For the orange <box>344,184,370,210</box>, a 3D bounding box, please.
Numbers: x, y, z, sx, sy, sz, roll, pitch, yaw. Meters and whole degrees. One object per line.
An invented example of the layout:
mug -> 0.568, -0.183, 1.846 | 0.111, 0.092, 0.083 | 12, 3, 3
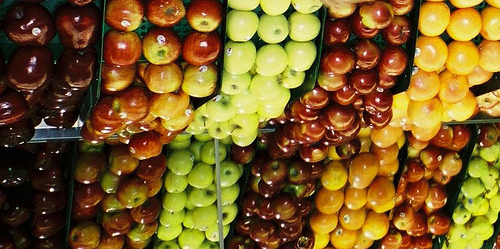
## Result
orange -> 0.886, 0.615, 3.316 | 0.173, 0.214, 0.164 | 11, -28, -8

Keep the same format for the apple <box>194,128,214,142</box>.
apple -> -0.366, 0.098, 3.114 | 0.119, 0.107, 0.100 | 19, -20, 4

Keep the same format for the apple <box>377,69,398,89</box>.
apple -> 0.948, -0.313, 2.732 | 0.130, 0.120, 0.155 | 5, -3, 44

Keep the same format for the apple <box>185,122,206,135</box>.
apple -> -0.414, 0.024, 2.967 | 0.109, 0.096, 0.105 | 9, -28, 44

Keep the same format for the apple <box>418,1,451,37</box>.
apple -> 1.235, -0.717, 2.629 | 0.199, 0.223, 0.190 | -7, 5, -35

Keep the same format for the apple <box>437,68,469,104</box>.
apple -> 1.454, -0.268, 2.734 | 0.243, 0.221, 0.127 | 16, 3, 2

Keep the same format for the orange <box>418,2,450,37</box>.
orange -> 1.241, -0.705, 2.664 | 0.201, 0.216, 0.129 | 4, 5, -4

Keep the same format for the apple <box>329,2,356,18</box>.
apple -> 0.610, -0.758, 2.579 | 0.174, 0.075, 0.094 | 1, -8, 12

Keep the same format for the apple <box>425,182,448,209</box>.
apple -> 1.658, 0.638, 3.570 | 0.183, 0.215, 0.181 | -5, 4, -15

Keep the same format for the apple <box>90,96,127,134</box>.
apple -> -0.968, -0.041, 2.717 | 0.248, 0.229, 0.235 | 8, -22, -32

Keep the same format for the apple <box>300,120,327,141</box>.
apple -> 0.465, 0.044, 2.883 | 0.184, 0.124, 0.130 | -2, 2, -8

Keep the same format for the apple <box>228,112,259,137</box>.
apple -> -0.039, 0.001, 2.892 | 0.187, 0.172, 0.223 | -4, 27, 32

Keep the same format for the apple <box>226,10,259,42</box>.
apple -> -0.048, -0.642, 2.540 | 0.211, 0.188, 0.115 | 3, -9, -1

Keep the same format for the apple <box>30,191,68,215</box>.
apple -> -1.462, 0.569, 2.854 | 0.226, 0.150, 0.119 | -10, 5, -22

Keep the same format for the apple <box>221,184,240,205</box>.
apple -> -0.166, 0.569, 3.190 | 0.135, 0.161, 0.126 | 13, -17, 24

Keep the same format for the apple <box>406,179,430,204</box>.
apple -> 1.467, 0.589, 3.433 | 0.159, 0.155, 0.211 | -30, -30, 22

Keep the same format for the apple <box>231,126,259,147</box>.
apple -> -0.042, 0.079, 2.984 | 0.149, 0.164, 0.146 | 15, 2, 10

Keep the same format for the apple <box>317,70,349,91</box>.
apple -> 0.561, -0.288, 2.727 | 0.158, 0.172, 0.160 | -14, -19, 34

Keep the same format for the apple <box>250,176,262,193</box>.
apple -> 0.038, 0.502, 3.254 | 0.143, 0.150, 0.132 | -2, -9, -1

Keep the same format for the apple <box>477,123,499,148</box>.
apple -> 2.101, 0.091, 3.450 | 0.189, 0.214, 0.177 | 0, -9, 21

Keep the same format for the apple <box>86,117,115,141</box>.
apple -> -1.047, 0.055, 2.731 | 0.171, 0.136, 0.157 | 7, 41, 2

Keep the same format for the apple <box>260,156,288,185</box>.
apple -> 0.155, 0.398, 3.188 | 0.212, 0.195, 0.201 | 36, 17, 2

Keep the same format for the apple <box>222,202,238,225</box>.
apple -> -0.164, 0.724, 3.246 | 0.182, 0.181, 0.158 | -3, -35, 0

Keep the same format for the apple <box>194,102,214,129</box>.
apple -> -0.326, -0.067, 2.894 | 0.175, 0.154, 0.198 | 11, 13, 1

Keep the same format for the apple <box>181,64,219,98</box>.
apple -> -0.315, -0.323, 2.673 | 0.273, 0.266, 0.248 | 3, 4, 12

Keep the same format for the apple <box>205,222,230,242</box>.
apple -> -0.270, 0.871, 3.293 | 0.170, 0.156, 0.195 | -10, -2, 9

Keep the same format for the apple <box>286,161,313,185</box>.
apple -> 0.407, 0.386, 3.158 | 0.203, 0.175, 0.175 | -4, -1, 12

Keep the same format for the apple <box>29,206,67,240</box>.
apple -> -1.508, 0.707, 2.927 | 0.190, 0.235, 0.141 | 22, 5, -41

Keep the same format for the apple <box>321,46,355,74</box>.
apple -> 0.582, -0.427, 2.622 | 0.246, 0.191, 0.184 | -3, -33, 9

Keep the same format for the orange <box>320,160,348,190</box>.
orange -> 0.679, 0.426, 3.285 | 0.245, 0.217, 0.218 | 2, -20, 4

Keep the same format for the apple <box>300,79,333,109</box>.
apple -> 0.454, -0.188, 2.796 | 0.193, 0.195, 0.207 | -8, -37, 3

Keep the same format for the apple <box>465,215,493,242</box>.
apple -> 2.153, 0.984, 3.747 | 0.300, 0.209, 0.139 | -18, 7, 21

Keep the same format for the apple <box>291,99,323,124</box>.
apple -> 0.403, -0.079, 2.819 | 0.232, 0.177, 0.176 | -2, -31, 10

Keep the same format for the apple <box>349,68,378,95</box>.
apple -> 0.770, -0.290, 2.616 | 0.160, 0.173, 0.105 | 3, 6, 8

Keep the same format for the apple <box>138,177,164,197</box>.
apple -> -0.760, 0.472, 3.002 | 0.156, 0.126, 0.144 | 0, 7, 3

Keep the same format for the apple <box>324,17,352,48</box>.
apple -> 0.580, -0.613, 2.618 | 0.211, 0.172, 0.200 | 0, 4, 6

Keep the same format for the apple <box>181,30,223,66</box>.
apple -> -0.309, -0.501, 2.533 | 0.261, 0.229, 0.110 | 4, -9, -9

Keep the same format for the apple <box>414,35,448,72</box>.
apple -> 1.234, -0.495, 2.681 | 0.261, 0.222, 0.222 | 4, 11, 7

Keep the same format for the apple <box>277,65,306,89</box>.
apple -> 0.279, -0.330, 2.709 | 0.159, 0.144, 0.156 | -7, 6, -6

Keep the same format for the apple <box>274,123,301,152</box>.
apple -> 0.269, 0.095, 3.123 | 0.194, 0.211, 0.132 | -9, -4, -43

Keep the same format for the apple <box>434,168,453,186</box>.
apple -> 1.704, 0.456, 3.466 | 0.124, 0.119, 0.144 | 41, 14, 3

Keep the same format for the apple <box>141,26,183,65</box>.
apple -> -0.555, -0.507, 2.590 | 0.262, 0.221, 0.247 | 0, -2, 6

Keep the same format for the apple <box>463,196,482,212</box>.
apple -> 2.055, 0.724, 3.598 | 0.174, 0.144, 0.079 | 5, -9, -16

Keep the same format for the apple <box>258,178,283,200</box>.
apple -> 0.164, 0.521, 3.156 | 0.157, 0.176, 0.107 | 9, 10, 2

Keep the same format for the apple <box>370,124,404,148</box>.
apple -> 1.086, 0.091, 3.110 | 0.226, 0.153, 0.155 | -12, -23, -19

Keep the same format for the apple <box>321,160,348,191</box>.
apple -> 0.694, 0.437, 3.361 | 0.245, 0.215, 0.226 | 6, -6, 5

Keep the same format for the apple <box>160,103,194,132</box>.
apple -> -0.472, -0.030, 2.756 | 0.194, 0.179, 0.198 | 11, 34, 21

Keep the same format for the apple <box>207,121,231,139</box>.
apple -> -0.233, 0.041, 2.925 | 0.139, 0.124, 0.129 | 1, 8, -4

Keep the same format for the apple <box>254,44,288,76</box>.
apple -> 0.143, -0.437, 2.629 | 0.223, 0.208, 0.095 | 3, -9, 1
